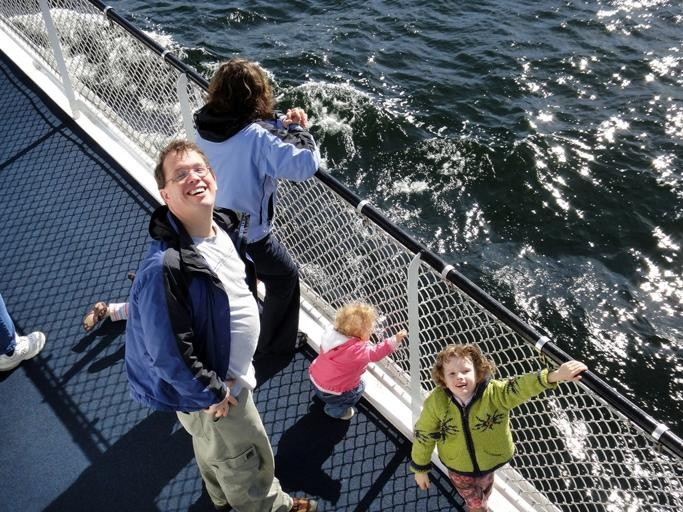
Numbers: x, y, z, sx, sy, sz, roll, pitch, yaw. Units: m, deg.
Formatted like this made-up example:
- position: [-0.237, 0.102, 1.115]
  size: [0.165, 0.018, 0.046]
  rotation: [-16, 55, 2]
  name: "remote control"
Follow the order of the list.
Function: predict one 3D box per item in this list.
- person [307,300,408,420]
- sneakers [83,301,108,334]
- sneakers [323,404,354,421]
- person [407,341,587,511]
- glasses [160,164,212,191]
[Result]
- position: [0.088, 0.846, 4.747]
  size: [0.683, 1.083, 0.595]
  rotation: [21, 40, 16]
  name: "person"
- position: [-2.178, 0.558, 5.192]
  size: [0.269, 0.115, 0.178]
  rotation: [-42, 58, 10]
  name: "sneakers"
- position: [-0.016, 1.295, 4.766]
  size: [0.176, 0.191, 0.127]
  rotation: [-1, 60, 18]
  name: "sneakers"
- position: [0.928, 1.102, 4.005]
  size: [0.825, 1.299, 0.795]
  rotation: [29, 52, 11]
  name: "person"
- position: [-0.927, -0.504, 3.592]
  size: [0.171, 0.173, 0.057]
  rotation: [-27, 88, -48]
  name: "glasses"
